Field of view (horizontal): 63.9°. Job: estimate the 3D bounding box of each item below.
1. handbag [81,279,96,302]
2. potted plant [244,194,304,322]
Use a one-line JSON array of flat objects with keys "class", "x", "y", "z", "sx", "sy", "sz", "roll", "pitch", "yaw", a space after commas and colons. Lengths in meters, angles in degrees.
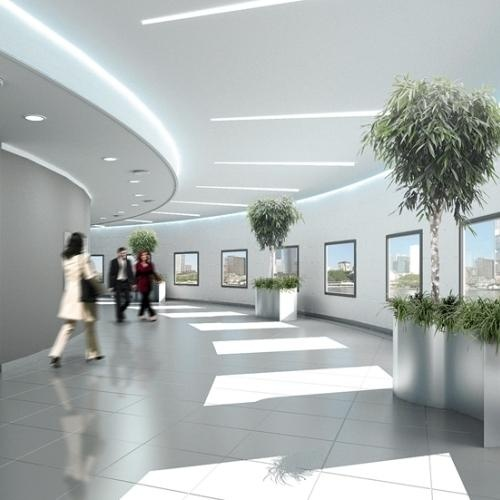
[{"class": "handbag", "x": -2.304, "y": 0.590, "z": 5.781, "sx": 0.219, "sy": 0.342, "sz": 0.150, "roll": 1, "pitch": -2, "yaw": -30}, {"class": "potted plant", "x": 0.678, "y": 0.257, "z": 11.559, "sx": 1.413, "sy": 3.349, "sz": 1.948, "roll": 0, "pitch": -2, "yaw": 0}]
